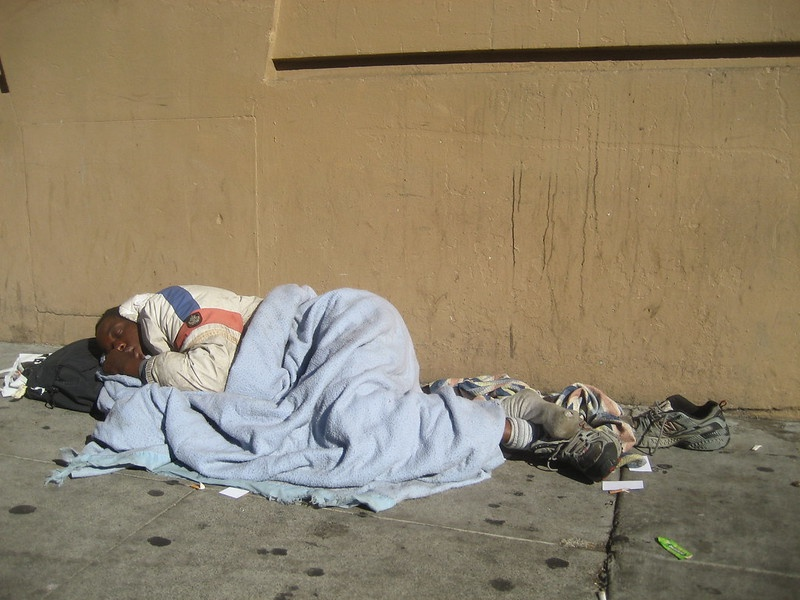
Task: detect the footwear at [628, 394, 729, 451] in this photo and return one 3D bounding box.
[{"bbox_3d":[1.505,0.671,5.159,0.606,0.267,0.217,-2,21,20],"label":"footwear"}]

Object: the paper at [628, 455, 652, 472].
[{"bbox_3d":[1.260,0.863,4.897,0.098,0.029,0.096,0,39,17],"label":"paper"}]

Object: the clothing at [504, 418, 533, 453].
[{"bbox_3d":[0.649,0.721,4.975,0.144,0.087,0.172,-20,19,-39],"label":"clothing"}]

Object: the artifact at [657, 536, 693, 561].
[{"bbox_3d":[1.266,1.153,4.315,0.118,0.027,0.072,24,31,35],"label":"artifact"}]

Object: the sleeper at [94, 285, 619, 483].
[{"bbox_3d":[-0.357,0.525,4.983,1.873,0.585,1.313,0,1,-2],"label":"sleeper"}]

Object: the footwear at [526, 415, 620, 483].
[{"bbox_3d":[0.911,0.763,4.835,0.386,0.179,0.248,13,51,32],"label":"footwear"}]

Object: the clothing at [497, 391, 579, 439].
[{"bbox_3d":[0.791,0.601,5.066,0.436,0.166,0.254,13,22,28],"label":"clothing"}]
